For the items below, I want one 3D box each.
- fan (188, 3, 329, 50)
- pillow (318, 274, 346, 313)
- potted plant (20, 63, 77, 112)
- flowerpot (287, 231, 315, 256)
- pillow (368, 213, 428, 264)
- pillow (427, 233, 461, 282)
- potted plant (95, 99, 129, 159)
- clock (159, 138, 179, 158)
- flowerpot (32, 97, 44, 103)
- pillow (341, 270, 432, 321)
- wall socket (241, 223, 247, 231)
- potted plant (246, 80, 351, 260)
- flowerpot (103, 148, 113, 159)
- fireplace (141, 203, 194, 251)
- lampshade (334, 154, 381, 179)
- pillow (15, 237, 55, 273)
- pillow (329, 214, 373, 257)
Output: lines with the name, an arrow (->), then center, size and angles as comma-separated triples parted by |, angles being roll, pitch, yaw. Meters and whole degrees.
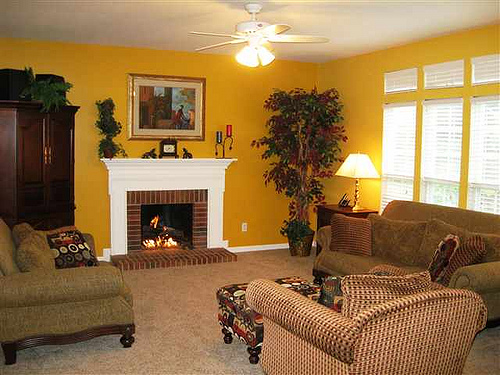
fan -> 0.135, -1.482, 3.883 | 0.724, 0.188, 0.759 | -5, 12, -28
pillow -> 0.691, 0.906, 3.470 | 0.257, 0.291, 0.309 | 10, -11, -9
potted plant -> -2.618, -1.239, 5.524 | 0.747, 0.419, 0.719 | -7, -1, 29
flowerpot -> 0.806, 0.906, 6.613 | 0.381, 0.287, 0.383 | -1, 0, -1
pillow -> 1.736, 0.616, 4.883 | 0.285, 0.543, 0.793 | 8, -1, -44
pillow -> 1.823, 0.663, 3.830 | 0.110, 0.333, 0.334 | 24, -4, 20
potted plant -> -2.052, -0.867, 6.007 | 0.424, 0.862, 0.304 | -2, 9, -20
clock -> -1.261, -0.622, 6.314 | 0.285, 0.336, 0.257 | -2, 6, -23
flowerpot -> -2.769, -1.141, 5.296 | 0.089, 0.074, 0.156 | -6, 11, -41
pillow -> 0.799, 0.615, 2.477 | 0.355, 0.117, 0.348 | -10, 23, 3
wall socket -> -0.117, 0.672, 6.998 | 0.097, 0.139, 0.014 | -1, 9, -16
potted plant -> 0.817, -0.335, 6.754 | 1.585, 2.919, 1.110 | 3, 9, 13
flowerpot -> -2.059, -0.502, 5.978 | 0.122, 0.133, 0.124 | 5, 10, 13
fireplace -> -1.401, 0.643, 6.734 | 0.753, 0.658, 0.250 | 0, -1, -21
lampshade -> 1.568, -0.305, 5.986 | 0.506, 0.468, 0.634 | 7, 17, 26
pillow -> -1.888, 0.590, 3.549 | 0.095, 0.157, 0.286 | -36, -2, -10
pillow -> 1.237, 0.590, 5.077 | 0.497, 0.467, 0.176 | 6, -5, 12
